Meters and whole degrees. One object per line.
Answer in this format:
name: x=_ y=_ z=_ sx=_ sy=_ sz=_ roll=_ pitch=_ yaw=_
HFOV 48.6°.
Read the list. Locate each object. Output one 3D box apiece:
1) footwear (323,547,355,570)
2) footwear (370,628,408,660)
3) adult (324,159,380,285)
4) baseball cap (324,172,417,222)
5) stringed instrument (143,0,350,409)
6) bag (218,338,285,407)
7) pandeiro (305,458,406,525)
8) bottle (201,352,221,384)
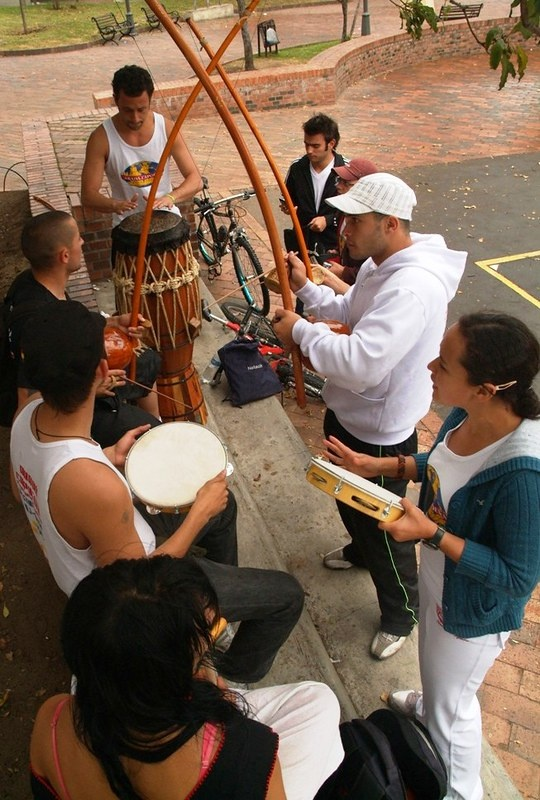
footwear: x=0.386 y=0.812 z=3.096 sx=0.227 sy=0.074 sz=0.089 roll=2 pitch=-18 yaw=-44
footwear: x=0.518 y=1.064 z=2.684 sx=0.181 sy=0.091 sz=0.091 roll=-40 pitch=43 yaw=-21
adult: x=0.523 y=-1.198 z=3.925 sx=0.410 sy=0.763 sz=0.410 roll=-20 pitch=41 yaw=-23
baseball cap: x=0.377 y=-0.714 z=2.238 sx=0.256 sy=0.129 sz=0.190 roll=15 pitch=32 yaw=-13
stringed instrument: x=-0.163 y=-0.507 z=2.507 sx=0.063 sy=1.909 sz=0.583 roll=-7 pitch=31 yaw=19
bag: x=-0.148 y=-0.193 z=4.210 sx=0.402 sy=0.194 sz=0.481 roll=-10 pitch=68 yaw=-24
pandeiro: x=0.270 y=0.291 z=1.915 sx=0.239 sy=0.061 sz=0.237 roll=28 pitch=-4 yaw=2
bottle: x=-0.413 y=-0.232 z=4.315 sx=0.132 sy=0.208 sz=0.062 roll=17 pitch=2 yaw=26
